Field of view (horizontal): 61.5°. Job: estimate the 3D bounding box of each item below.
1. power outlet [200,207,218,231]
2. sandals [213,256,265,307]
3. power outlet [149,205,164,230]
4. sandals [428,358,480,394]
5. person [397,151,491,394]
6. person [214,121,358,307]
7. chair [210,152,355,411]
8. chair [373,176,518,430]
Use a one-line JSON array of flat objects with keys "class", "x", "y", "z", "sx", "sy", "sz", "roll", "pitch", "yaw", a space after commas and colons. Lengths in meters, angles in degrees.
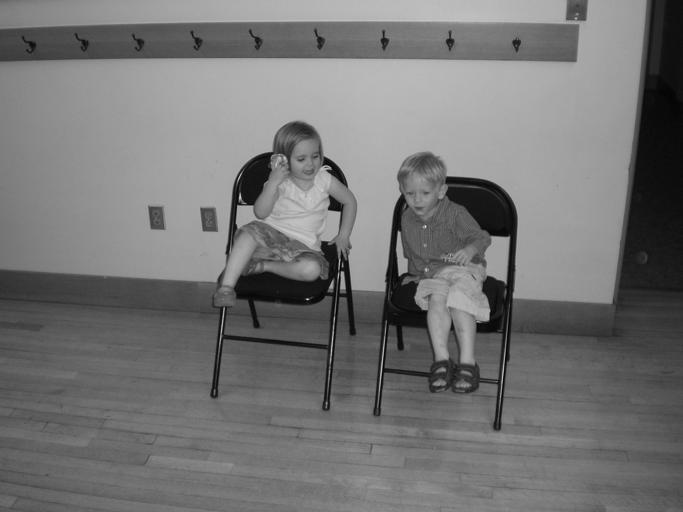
[{"class": "power outlet", "x": -0.812, "y": -0.232, "z": 3.522, "sx": 0.119, "sy": 0.189, "sz": 0.021, "roll": 3, "pitch": 27, "yaw": 4}, {"class": "sandals", "x": -0.498, "y": 0.131, "z": 2.749, "sx": 0.143, "sy": 0.233, "sz": 0.267, "roll": 7, "pitch": 8, "yaw": 36}, {"class": "power outlet", "x": -1.147, "y": -0.244, "z": 3.567, "sx": 0.121, "sy": 0.178, "sz": 0.017, "roll": 6, "pitch": 27, "yaw": 7}, {"class": "sandals", "x": 0.487, "y": 0.530, "z": 2.500, "sx": 0.152, "sy": 0.074, "sz": 0.226, "roll": 2, "pitch": 17, "yaw": 16}, {"class": "person", "x": 0.457, "y": 0.053, "z": 2.618, "sx": 0.434, "sy": 1.036, "sz": 0.431, "roll": 3, "pitch": 7, "yaw": 9}, {"class": "person", "x": -0.255, "y": -0.257, "z": 2.899, "sx": 0.639, "sy": 1.021, "sz": 0.909, "roll": 9, "pitch": 28, "yaw": 4}, {"class": "chair", "x": -0.283, "y": 0.099, "z": 2.992, "sx": 0.592, "sy": 1.198, "sz": 0.719, "roll": 5, "pitch": 15, "yaw": 10}, {"class": "chair", "x": 0.510, "y": 0.199, "z": 2.738, "sx": 0.747, "sy": 1.075, "sz": 0.840, "roll": -1, "pitch": 9, "yaw": -11}]
